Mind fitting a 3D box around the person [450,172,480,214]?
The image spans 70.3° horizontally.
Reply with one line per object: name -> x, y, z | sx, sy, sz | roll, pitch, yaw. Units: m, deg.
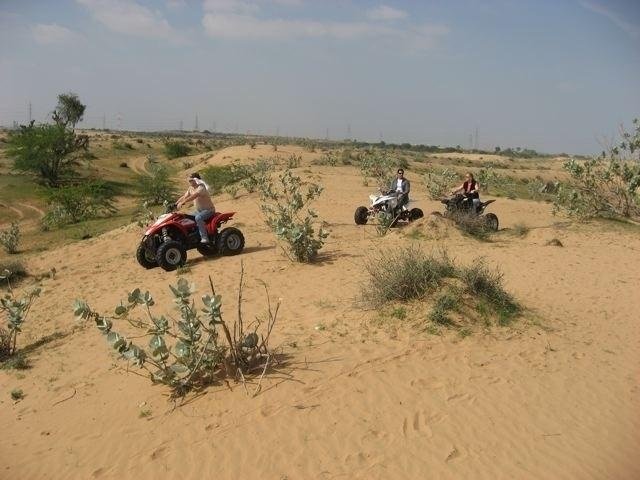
person -> 4.702, -1.503, 14.905 | 1.650, 0.997, 0.879 | -11, 7, -42

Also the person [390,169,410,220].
person -> 2.523, -1.484, 14.285 | 0.577, 1.543, 1.027 | 3, 17, 8

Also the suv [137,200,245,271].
suv -> -3.258, -0.179, 11.272 | 1.520, 1.423, 2.396 | 0, 11, 42

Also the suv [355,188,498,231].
suv -> 3.467, -0.959, 14.616 | 3.545, 1.184, 1.853 | 2, 1, -11
